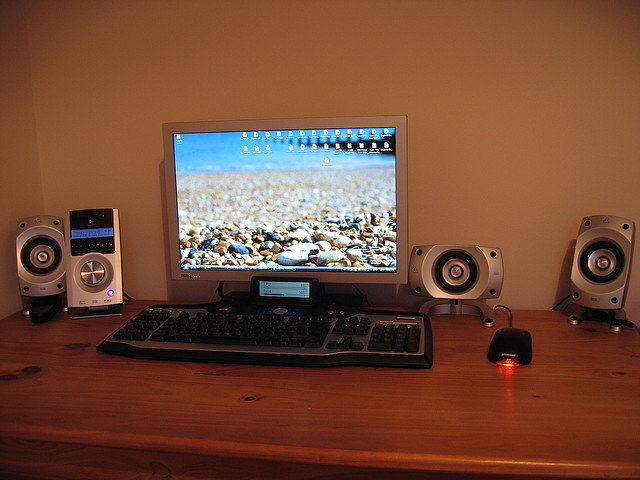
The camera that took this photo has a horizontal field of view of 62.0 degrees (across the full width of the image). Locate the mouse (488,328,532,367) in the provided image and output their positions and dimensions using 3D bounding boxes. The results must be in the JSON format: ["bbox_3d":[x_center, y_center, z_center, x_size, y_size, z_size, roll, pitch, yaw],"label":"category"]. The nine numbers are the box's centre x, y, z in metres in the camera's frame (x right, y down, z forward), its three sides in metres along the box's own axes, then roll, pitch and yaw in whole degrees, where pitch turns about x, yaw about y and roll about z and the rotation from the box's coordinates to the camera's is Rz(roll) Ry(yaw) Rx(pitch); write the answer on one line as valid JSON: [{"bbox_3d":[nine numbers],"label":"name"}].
[{"bbox_3d":[0.446,0.234,1.237,0.109,0.046,0.163,-1,17,17],"label":"mouse"}]

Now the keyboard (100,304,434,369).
[{"bbox_3d":[-0.114,0.223,1.296,0.760,0.091,0.246,3,5,6],"label":"keyboard"}]

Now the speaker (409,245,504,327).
[{"bbox_3d":[0.370,0.110,1.436,0.255,0.178,0.160,0,3,29],"label":"speaker"}]

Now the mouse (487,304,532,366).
[{"bbox_3d":[0.450,0.210,1.272,0.105,0.029,0.255,-4,23,17],"label":"mouse"}]

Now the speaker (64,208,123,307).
[{"bbox_3d":[-0.665,0.046,1.547,0.188,0.280,0.178,-2,7,-17],"label":"speaker"}]
